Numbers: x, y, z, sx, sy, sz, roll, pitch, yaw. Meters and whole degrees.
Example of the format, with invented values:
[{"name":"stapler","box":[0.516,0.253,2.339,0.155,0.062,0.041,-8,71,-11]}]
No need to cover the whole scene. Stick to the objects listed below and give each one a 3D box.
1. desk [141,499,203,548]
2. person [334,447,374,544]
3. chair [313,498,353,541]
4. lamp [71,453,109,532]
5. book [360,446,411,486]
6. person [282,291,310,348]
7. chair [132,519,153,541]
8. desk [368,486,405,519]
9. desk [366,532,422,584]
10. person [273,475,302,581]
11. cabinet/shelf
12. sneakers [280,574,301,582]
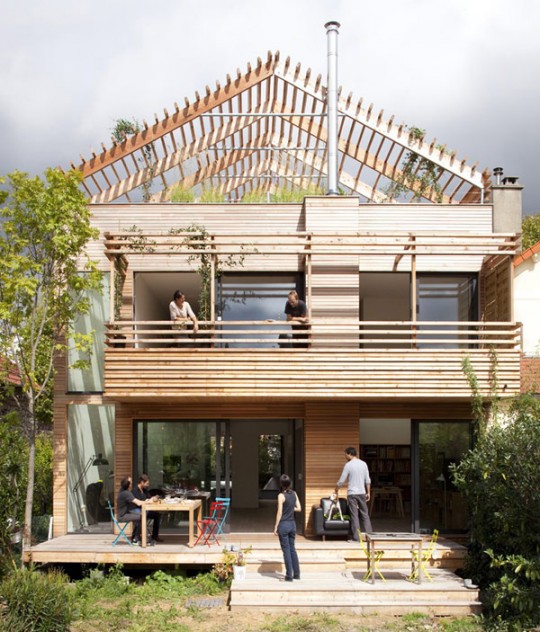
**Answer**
[{"name":"desk","box":[-1.761,3.755,16.379,1.072,0.853,1.488,0,-12,-5]},{"name":"person","box":[1.491,3.198,16.175,0.586,1.673,0.875,-2,-11,5]},{"name":"chair","box":[1.192,3.865,17.084,0.748,0.749,0.747,1,-15,-1]},{"name":"lamp","box":[-3.636,3.507,18.164,0.671,1.434,0.473,3,-11,-21]},{"name":"book","box":[2.493,3.271,19.523,0.947,0.997,0.291,2,-4,-8]},{"name":"person","box":[0.520,0.038,16.857,0.452,1.097,1.027,-1,-11,0]},{"name":"chair","box":[-2.328,3.922,16.501,0.358,0.509,0.177,3,0,-8]},{"name":"desk","box":[2.526,3.971,19.481,0.624,0.583,0.670,1,-23,-1]},{"name":"desk","box":[2.061,3.830,14.648,0.927,0.791,0.950,1,-16,0]},{"name":"person","box":[0.297,3.512,14.880,0.396,1.695,1.065,-1,-11,1]},{"name":"cabinet/shelf","box":[2.632,3.609,20.106,1.064,1.590,0.563,-2,8,9]},{"name":"sneakers","box":[0.357,4.324,14.877,0.287,0.138,0.103,5,-12,-10]}]
